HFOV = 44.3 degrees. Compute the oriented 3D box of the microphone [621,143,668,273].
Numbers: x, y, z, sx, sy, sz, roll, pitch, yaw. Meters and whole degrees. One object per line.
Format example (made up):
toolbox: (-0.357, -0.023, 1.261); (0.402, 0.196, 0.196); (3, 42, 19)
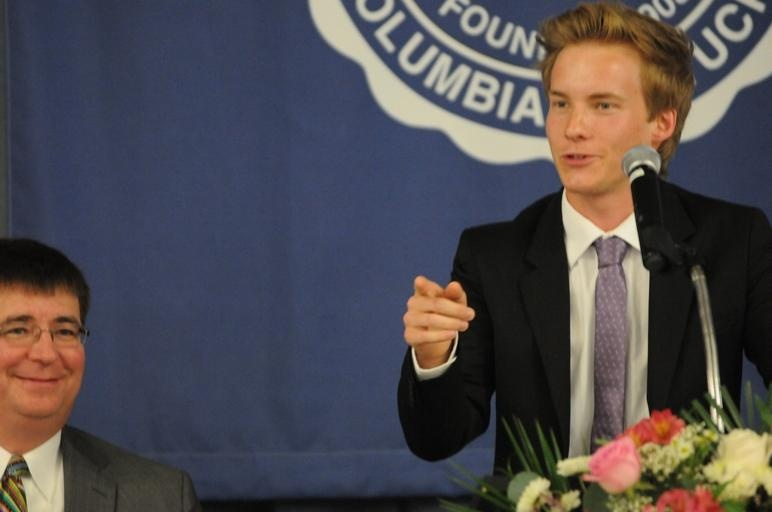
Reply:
microphone: (0.827, -0.153, 2.976); (0.141, 0.418, 0.108); (0, -16, 13)
